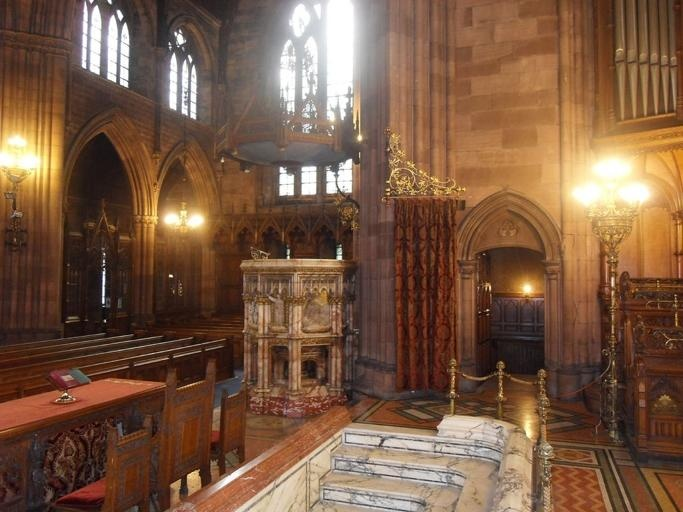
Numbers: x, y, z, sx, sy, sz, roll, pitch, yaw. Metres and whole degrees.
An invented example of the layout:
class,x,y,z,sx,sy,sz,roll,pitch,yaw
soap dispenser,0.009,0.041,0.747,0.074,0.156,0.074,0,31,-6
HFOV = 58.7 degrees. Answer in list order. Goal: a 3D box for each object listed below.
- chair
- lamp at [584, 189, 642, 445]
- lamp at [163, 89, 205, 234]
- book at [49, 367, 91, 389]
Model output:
class,x,y,z,sx,sy,sz,roll,pitch,yaw
chair,-2.604,2.453,8.038,0.634,1.106,2.071,0,0,16
lamp,4.532,0.759,10.064,0.917,4.254,1.710,-1,-2,26
lamp,-5.055,-1.960,19.604,1.314,2.521,3.971,0,-2,-14
book,-3.668,1.671,8.181,0.314,0.081,0.313,24,13,31
